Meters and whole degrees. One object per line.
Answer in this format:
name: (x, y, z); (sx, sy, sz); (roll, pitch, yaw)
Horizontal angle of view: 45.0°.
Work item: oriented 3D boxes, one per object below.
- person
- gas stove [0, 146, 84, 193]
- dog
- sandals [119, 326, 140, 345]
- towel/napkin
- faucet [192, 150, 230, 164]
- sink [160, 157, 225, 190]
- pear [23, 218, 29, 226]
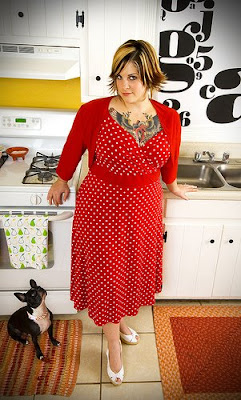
person: (-0.002, 0.135, 1.304); (0.574, 1.470, 0.404); (-4, 24, -14)
gas stove: (-0.440, -0.155, 1.610); (0.229, 0.064, 0.461); (3, 28, -5)
dog: (-0.476, 0.597, 1.539); (0.284, 0.373, 0.195); (10, 25, 29)
sandals: (0.061, 0.777, 1.638); (0.067, 0.038, 0.119); (-11, 24, -30)
towel/napkin: (-0.463, 0.199, 1.431); (0.279, 0.363, 0.050); (2, 26, -5)
faucet: (0.589, -0.271, 1.891); (0.211, 0.076, 0.061); (2, 36, -1)
sink: (0.467, -0.147, 1.825); (0.281, 0.113, 0.230); (1, 42, -7)
pear: (-0.454, 0.107, 1.392); (0.021, 0.041, 0.013); (5, 24, 7)
